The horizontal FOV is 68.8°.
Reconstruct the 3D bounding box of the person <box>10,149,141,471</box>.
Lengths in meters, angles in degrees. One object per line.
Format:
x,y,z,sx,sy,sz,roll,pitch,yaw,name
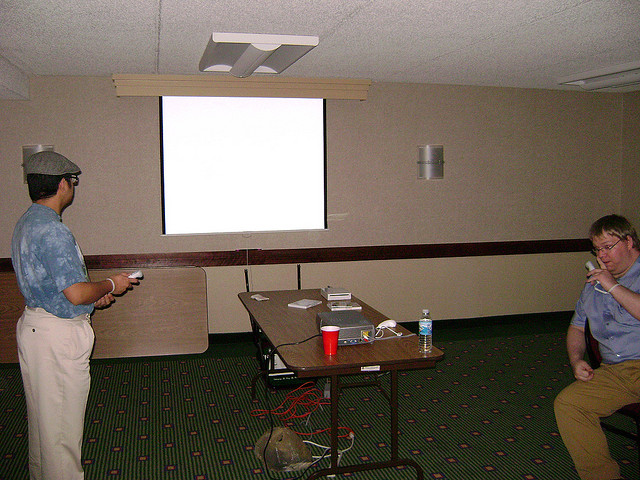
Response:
-1.646,0.496,3.031,0.705,2.099,0.614,-5,13,-23,person

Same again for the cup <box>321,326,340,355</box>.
0.073,0.681,3.174,0.165,0.173,0.163,-1,-1,0,cup
